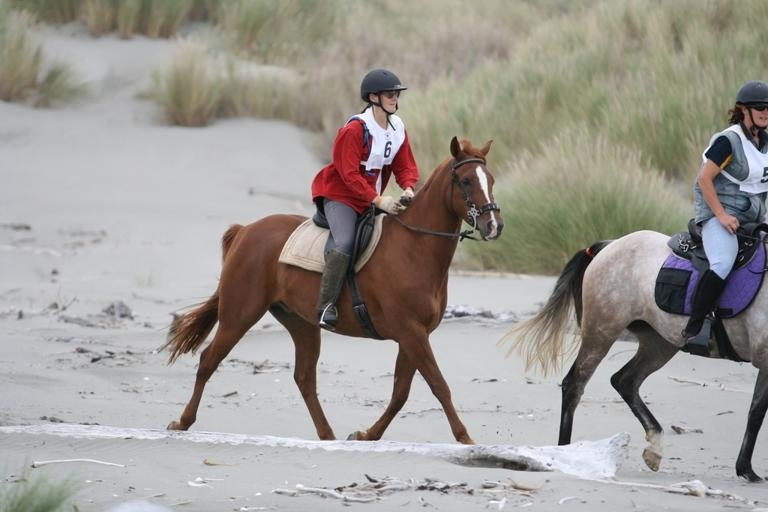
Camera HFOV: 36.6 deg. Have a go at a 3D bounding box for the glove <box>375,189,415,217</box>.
[{"bbox_3d":[0.079,-0.635,13.620,0.289,0.126,0.376,-5,-7,-17],"label":"glove"}]

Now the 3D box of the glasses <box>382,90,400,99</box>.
[{"bbox_3d":[0.072,-1.905,13.536,0.109,0.053,0.132,-4,3,-44],"label":"glasses"}]

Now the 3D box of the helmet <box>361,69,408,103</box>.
[{"bbox_3d":[-0.062,-2.001,13.622,0.475,0.245,0.347,-11,-1,32],"label":"helmet"}]

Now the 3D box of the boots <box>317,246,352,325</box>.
[{"bbox_3d":[-0.577,0.363,13.411,0.315,0.902,0.199,5,10,-4],"label":"boots"}]

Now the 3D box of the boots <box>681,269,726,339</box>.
[{"bbox_3d":[3.650,0.504,13.246,0.252,0.977,0.295,27,23,6],"label":"boots"}]

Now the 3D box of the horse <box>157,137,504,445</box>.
[{"bbox_3d":[-0.650,0.624,14.189,5.125,3.544,1.191,-2,-1,35],"label":"horse"}]
